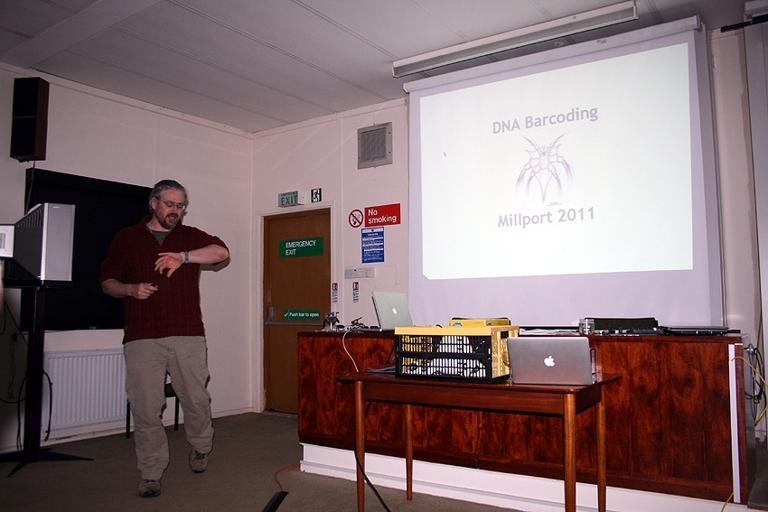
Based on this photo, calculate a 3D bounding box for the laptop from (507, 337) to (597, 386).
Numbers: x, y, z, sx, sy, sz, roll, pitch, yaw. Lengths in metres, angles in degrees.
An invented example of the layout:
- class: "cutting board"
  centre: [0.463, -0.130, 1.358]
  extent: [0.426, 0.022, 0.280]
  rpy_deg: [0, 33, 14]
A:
- class: "laptop"
  centre: [1.038, 0.735, 3.416]
  extent: [0.560, 0.344, 0.456]
  rpy_deg: [-4, 7, 12]

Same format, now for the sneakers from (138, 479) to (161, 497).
- class: "sneakers"
  centre: [-1.968, 1.951, 4.555]
  extent: [0.104, 0.123, 0.181]
  rpy_deg: [1, -3, 5]

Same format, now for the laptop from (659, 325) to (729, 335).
- class: "laptop"
  centre: [2.477, 0.607, 4.371]
  extent: [0.452, 0.046, 0.642]
  rpy_deg: [-4, -3, 37]

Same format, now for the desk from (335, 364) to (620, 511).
- class: "desk"
  centre: [0.753, 1.415, 4.036]
  extent: [1.855, 1.134, 0.888]
  rpy_deg: [-3, -3, 23]

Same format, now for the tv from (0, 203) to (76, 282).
- class: "tv"
  centre: [-3.241, -0.128, 5.145]
  extent: [0.478, 0.762, 0.094]
  rpy_deg: [0, -4, -36]

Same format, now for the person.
- class: "person"
  centre: [-1.968, 0.672, 4.839]
  extent: [0.962, 2.708, 0.445]
  rpy_deg: [0, -4, -29]

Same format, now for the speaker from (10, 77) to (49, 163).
- class: "speaker"
  centre: [-3.839, -1.498, 5.829]
  extent: [0.329, 0.852, 0.186]
  rpy_deg: [-1, -4, -27]

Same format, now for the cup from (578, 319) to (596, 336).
- class: "cup"
  centre: [1.666, 0.578, 4.462]
  extent: [0.127, 0.120, 0.208]
  rpy_deg: [-3, -3, 19]

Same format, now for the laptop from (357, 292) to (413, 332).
- class: "laptop"
  centre: [-0.046, 0.453, 4.719]
  extent: [0.509, 0.394, 0.342]
  rpy_deg: [9, 4, -39]

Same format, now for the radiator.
- class: "radiator"
  centre: [-3.294, 1.524, 6.153]
  extent: [0.914, 0.817, 0.094]
  rpy_deg: [-6, -3, 14]

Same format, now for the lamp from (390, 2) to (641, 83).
- class: "lamp"
  centre: [1.300, -2.258, 5.641]
  extent: [2.432, 0.278, 0.155]
  rpy_deg: [-3, -3, 24]

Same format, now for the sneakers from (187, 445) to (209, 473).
- class: "sneakers"
  centre: [-1.756, 1.922, 5.095]
  extent: [0.138, 0.245, 0.121]
  rpy_deg: [-3, 2, -23]
